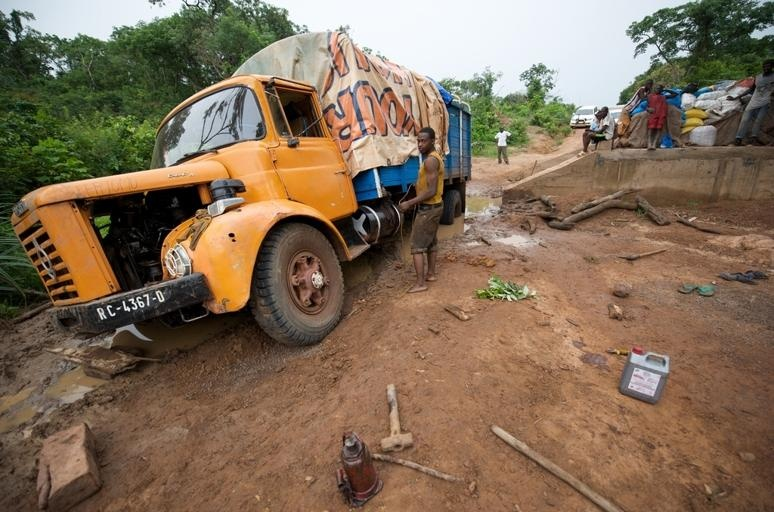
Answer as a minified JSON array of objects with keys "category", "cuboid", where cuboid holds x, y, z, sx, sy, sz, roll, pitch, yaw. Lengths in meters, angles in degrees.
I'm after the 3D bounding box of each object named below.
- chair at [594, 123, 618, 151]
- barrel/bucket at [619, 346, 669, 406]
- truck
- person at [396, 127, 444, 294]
[{"category":"chair","cuboid":[6.023,-3.306,11.132,0.422,0.519,1.538,4,23,28]},{"category":"barrel/bucket","cuboid":[3.111,1.478,4.929,0.475,0.604,0.321,6,24,31]},{"category":"truck","cuboid":[-1.505,-1.000,7.914,3.851,4.233,8.233,-10,-3,37]},{"category":"person","cuboid":[0.703,-0.759,6.748,1.210,2.450,0.743,-2,3,-39]}]
